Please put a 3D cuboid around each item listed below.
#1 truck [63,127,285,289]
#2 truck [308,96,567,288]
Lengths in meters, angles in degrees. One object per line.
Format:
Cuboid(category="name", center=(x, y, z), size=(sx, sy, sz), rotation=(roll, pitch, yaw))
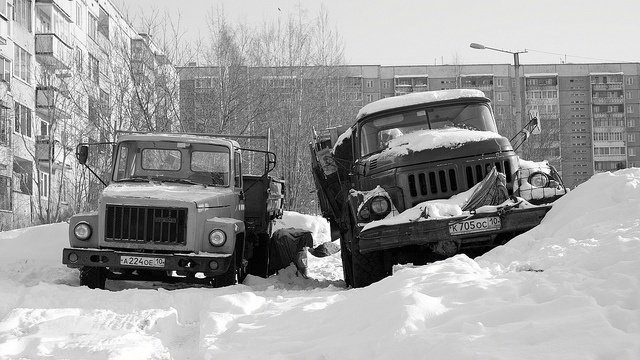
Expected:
Cuboid(category="truck", center=(-3.481, 0.936, 19.152), size=(3.657, 2.800, 5.563), rotation=(0, -5, 7))
Cuboid(category="truck", center=(2.644, 0.368, 19.038), size=(4.260, 2.991, 6.525), rotation=(-9, -7, -5))
